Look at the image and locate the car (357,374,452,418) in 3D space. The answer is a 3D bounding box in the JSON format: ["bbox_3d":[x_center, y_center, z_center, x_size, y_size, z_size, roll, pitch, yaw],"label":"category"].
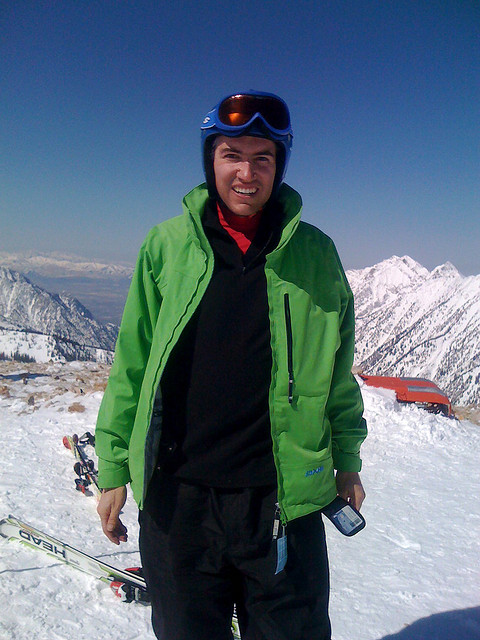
[{"bbox_3d":[4.936,2.123,16.848,1.812,1.091,2.892,7,1,-8],"label":"car"}]

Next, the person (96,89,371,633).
[{"bbox_3d":[-0.003,0.177,3.049,1.384,2.770,0.719,8,0,11],"label":"person"}]

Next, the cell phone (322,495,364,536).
[{"bbox_3d":[0.537,1.019,3.008,0.134,0.050,0.245,-29,43,-22],"label":"cell phone"}]
